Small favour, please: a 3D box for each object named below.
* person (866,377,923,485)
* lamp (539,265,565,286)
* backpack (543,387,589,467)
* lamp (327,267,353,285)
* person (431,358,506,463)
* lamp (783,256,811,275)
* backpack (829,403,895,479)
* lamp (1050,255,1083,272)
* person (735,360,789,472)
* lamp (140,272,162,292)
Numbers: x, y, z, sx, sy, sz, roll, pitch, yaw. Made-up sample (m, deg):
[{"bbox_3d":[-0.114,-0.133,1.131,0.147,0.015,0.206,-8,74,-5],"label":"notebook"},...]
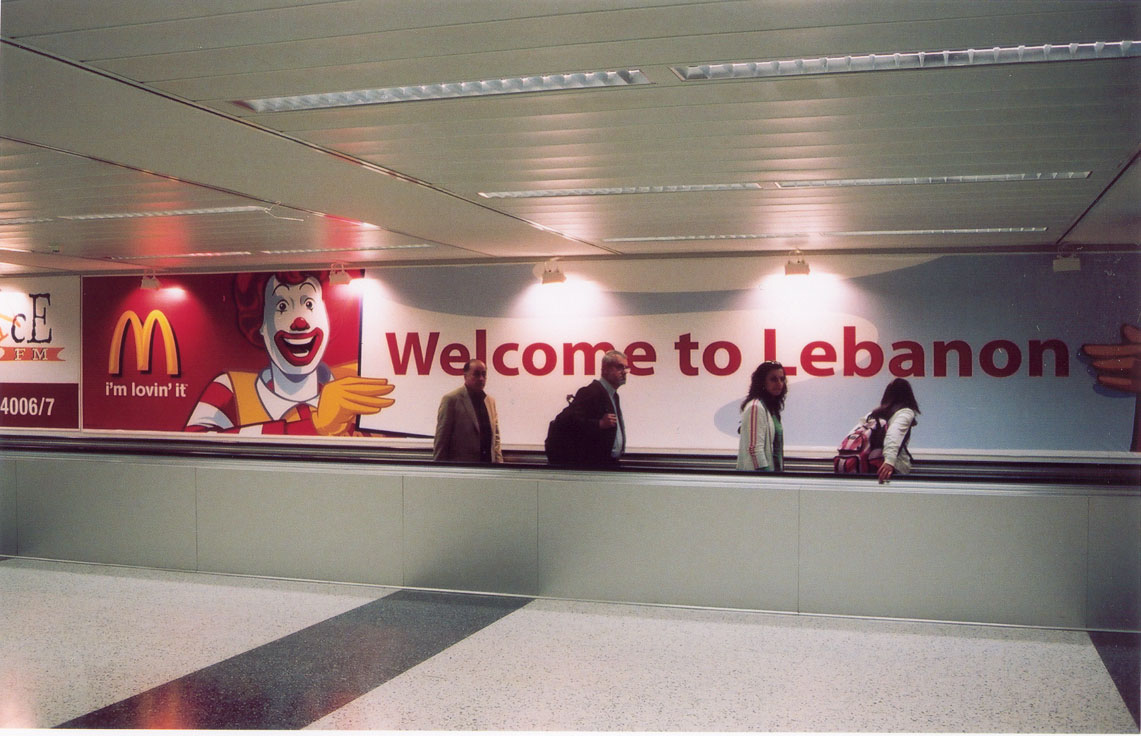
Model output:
[{"bbox_3d":[3.041,0.609,8.439,0.436,0.884,1.905,3,9,20],"label":"person"},{"bbox_3d":[-0.220,-1.045,10.269,0.311,0.212,0.278,1,9,7],"label":"lamp"},{"bbox_3d":[-0.009,0.542,8.422,0.325,0.380,0.426,-17,22,-34],"label":"backpack"},{"bbox_3d":[-2.813,-1.104,10.904,0.337,0.235,0.171,4,10,24],"label":"lamp"},{"bbox_3d":[-1.059,0.492,9.219,0.723,1.073,0.424,-3,10,-19],"label":"person"},{"bbox_3d":[2.429,-1.075,9.567,0.259,0.208,0.307,2,9,13],"label":"lamp"},{"bbox_3d":[2.875,0.794,8.872,0.409,0.648,0.506,8,-7,-17],"label":"backpack"},{"bbox_3d":[5.035,-1.049,9.071,0.318,0.185,0.159,1,-11,-2],"label":"lamp"},{"bbox_3d":[1.813,0.510,8.488,0.400,0.989,0.667,1,9,10],"label":"person"},{"bbox_3d":[-5.401,-1.072,11.413,0.214,0.225,0.258,-1,4,4],"label":"lamp"}]
